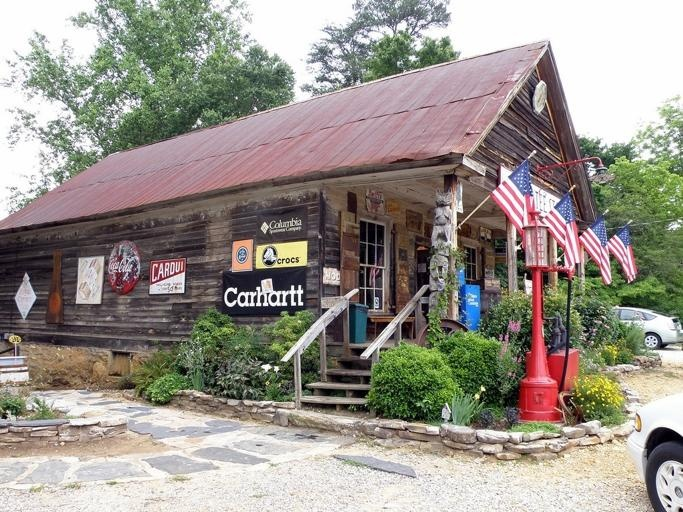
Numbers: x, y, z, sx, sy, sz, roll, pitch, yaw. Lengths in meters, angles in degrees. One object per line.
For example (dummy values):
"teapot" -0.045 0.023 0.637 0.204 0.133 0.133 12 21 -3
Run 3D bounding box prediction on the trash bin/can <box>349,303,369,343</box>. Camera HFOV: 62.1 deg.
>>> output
"trash bin/can" 0.346 1.434 12.219 0.379 0.859 0.577 1 5 1
